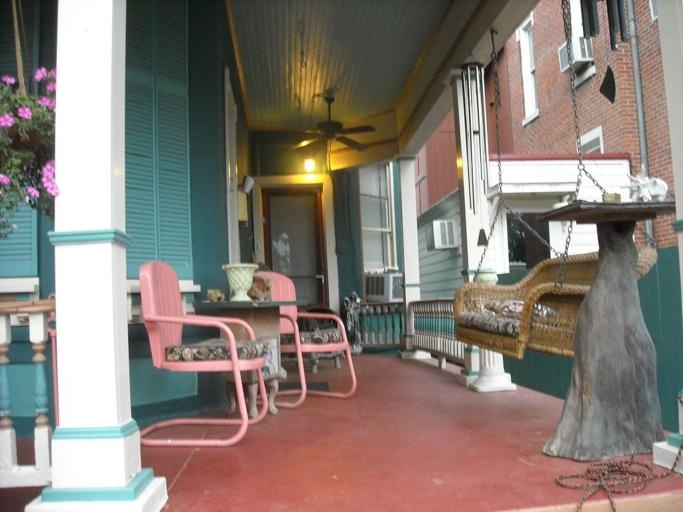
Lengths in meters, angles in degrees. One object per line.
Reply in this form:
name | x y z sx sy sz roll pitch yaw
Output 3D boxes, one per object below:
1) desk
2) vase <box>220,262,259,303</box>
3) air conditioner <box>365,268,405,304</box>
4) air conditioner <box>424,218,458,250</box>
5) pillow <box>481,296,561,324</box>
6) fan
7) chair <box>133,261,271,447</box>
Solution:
desk | -0.653 0.732 4.574 0.749 1.250 0.748 -4 -3 39
vase | -0.784 0.199 4.360 0.241 0.251 0.258 1 -3 -23
air conditioner | 0.627 0.435 8.075 0.453 0.503 0.456 2 -4 -38
air conditioner | 1.714 -0.212 9.582 0.372 0.578 0.749 -1 -5 -10
pillow | 1.270 0.385 4.071 0.252 0.153 0.329 2 -2 -18
fan | -0.169 -1.747 7.031 0.916 0.493 0.890 -13 22 -31
chair | -0.873 0.522 3.750 0.723 1.280 0.820 -2 -5 1
